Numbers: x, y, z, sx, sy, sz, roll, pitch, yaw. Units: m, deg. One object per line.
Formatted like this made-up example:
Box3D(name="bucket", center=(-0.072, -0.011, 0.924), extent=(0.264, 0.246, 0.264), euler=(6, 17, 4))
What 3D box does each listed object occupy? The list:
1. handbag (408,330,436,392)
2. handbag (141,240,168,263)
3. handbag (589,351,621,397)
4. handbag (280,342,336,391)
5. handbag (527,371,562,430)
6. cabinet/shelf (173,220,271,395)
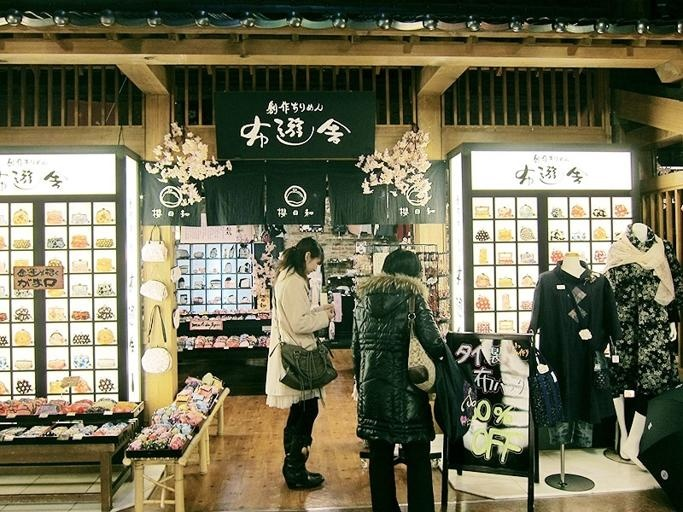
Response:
Box3D(name="handbag", center=(0.774, 1.028, 8.093), extent=(0.212, 0.740, 0.538), euler=(-9, 2, 0))
Box3D(name="handbag", center=(-2.414, -0.047, 10.735), extent=(0.270, 0.289, 0.101), euler=(1, -5, 0))
Box3D(name="handbag", center=(2.948, 1.323, 9.199), extent=(0.321, 0.463, 0.245), euler=(8, 27, 26))
Box3D(name="handbag", center=(-0.343, 1.150, 9.039), extent=(0.588, 0.563, 0.245), euler=(-5, 24, -5))
Box3D(name="handbag", center=(2.171, 1.498, 8.780), extent=(0.445, 0.592, 0.128), euler=(-1, -1, -36))
Box3D(name="cabinet/shelf", center=(-1.981, 0.678, 13.921), extent=(1.533, 2.521, 2.771), euler=(-1, -1, -12))
